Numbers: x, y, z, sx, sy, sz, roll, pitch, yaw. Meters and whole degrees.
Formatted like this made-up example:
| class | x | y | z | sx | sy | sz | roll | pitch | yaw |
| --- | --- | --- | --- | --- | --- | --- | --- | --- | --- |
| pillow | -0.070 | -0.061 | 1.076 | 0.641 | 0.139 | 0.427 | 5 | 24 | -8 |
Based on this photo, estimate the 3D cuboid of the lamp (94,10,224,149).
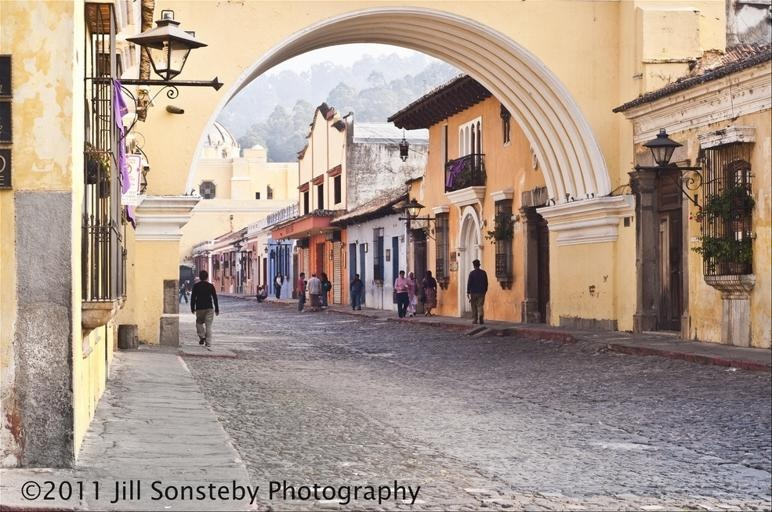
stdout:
| class | x | y | z | sx | sy | sz | roll | pitch | yaw |
| --- | --- | --- | --- | --- | --- | --- | --- | --- | --- |
| lamp | -3.202 | -2.664 | 17.026 | 1.802 | 1.787 | 1.864 | 6 | 6 | 9 |

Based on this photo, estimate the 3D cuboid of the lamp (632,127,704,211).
| class | x | y | z | sx | sy | sz | roll | pitch | yaw |
| --- | --- | --- | --- | --- | --- | --- | --- | --- | --- |
| lamp | 5.642 | -1.727 | 22.926 | 1.559 | 1.521 | 1.437 | 0 | 0 | -6 |

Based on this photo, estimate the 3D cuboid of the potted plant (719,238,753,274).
| class | x | y | z | sx | sy | sz | roll | pitch | yaw |
| --- | --- | --- | --- | --- | --- | --- | --- | --- | --- |
| potted plant | 6.530 | -0.025 | 21.573 | 0.509 | 0.599 | 0.309 | 1 | -2 | 30 |

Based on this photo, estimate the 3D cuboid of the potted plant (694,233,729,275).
| class | x | y | z | sx | sy | sz | roll | pitch | yaw |
| --- | --- | --- | --- | --- | --- | --- | --- | --- | --- |
| potted plant | 6.255 | -0.054 | 22.156 | 0.651 | 0.824 | 0.869 | 1 | -3 | 7 |

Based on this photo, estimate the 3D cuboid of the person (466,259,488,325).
| class | x | y | z | sx | sy | sz | roll | pitch | yaw |
| --- | --- | --- | --- | --- | --- | --- | --- | --- | --- |
| person | 2.331 | 0.879 | 29.841 | 0.477 | 1.651 | 1.109 | 0 | -2 | 4 |
